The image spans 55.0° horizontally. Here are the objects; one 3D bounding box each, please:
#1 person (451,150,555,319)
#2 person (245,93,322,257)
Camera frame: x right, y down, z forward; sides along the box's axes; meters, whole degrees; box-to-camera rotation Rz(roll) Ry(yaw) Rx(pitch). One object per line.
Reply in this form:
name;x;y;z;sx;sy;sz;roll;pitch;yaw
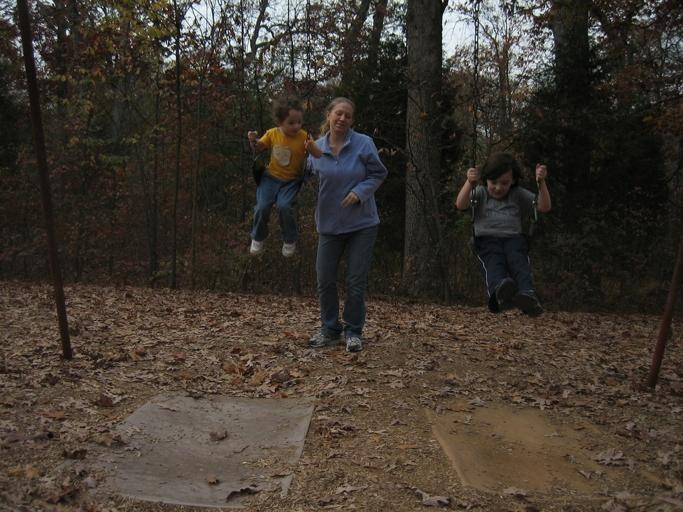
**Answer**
person;1.805;-0.277;7.438;0.909;1.998;0.907;4;6;8
person;-0.785;-1.113;8.074;0.682;2.372;0.742;5;10;-20
